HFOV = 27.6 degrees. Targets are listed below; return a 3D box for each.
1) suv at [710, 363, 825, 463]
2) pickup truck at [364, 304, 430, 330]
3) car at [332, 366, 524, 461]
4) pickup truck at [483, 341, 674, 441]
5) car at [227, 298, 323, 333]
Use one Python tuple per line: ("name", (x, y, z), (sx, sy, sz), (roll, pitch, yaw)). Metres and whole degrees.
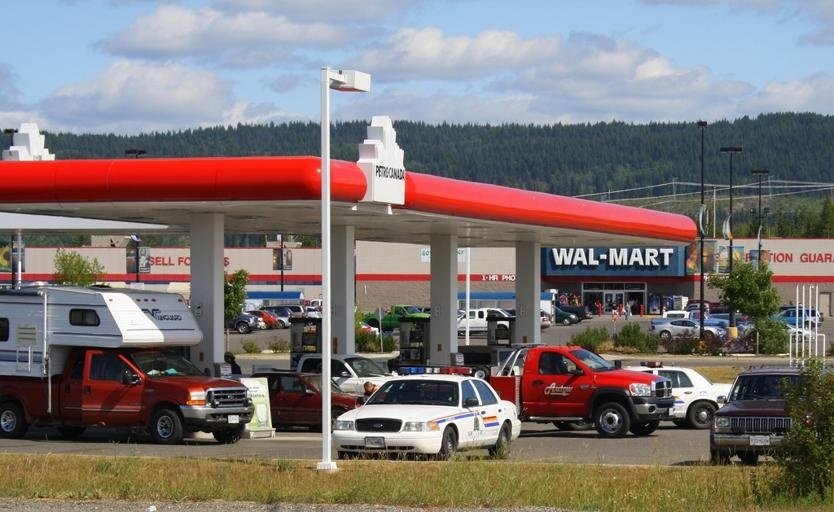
("suv", (12.720, 6.138, 64.934), (3.101, 3.520, 2.335), (0, 4, -1))
("pickup truck", (-1.667, 4.317, 113.822), (3.848, 1.486, 2.123), (-2, 0, 9))
("car", (0.642, 6.158, 65.496), (3.608, 2.789, 9.596), (-1, -2, 22))
("pickup truck", (6.905, 5.649, 70.705), (7.880, 3.348, 3.425), (-1, -2, 20))
("car", (-9.378, 3.935, 111.000), (3.308, 2.963, 8.371), (-4, 0, 18))
